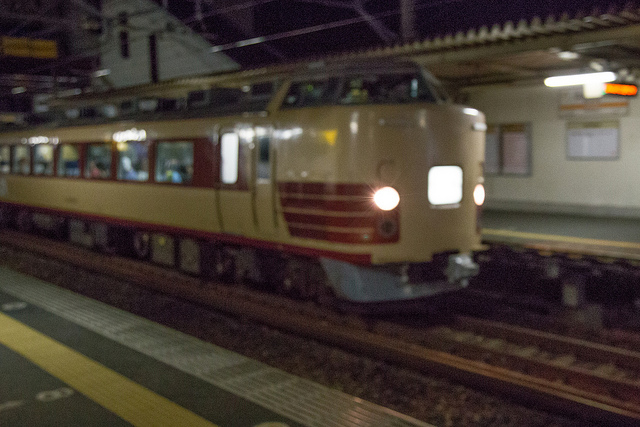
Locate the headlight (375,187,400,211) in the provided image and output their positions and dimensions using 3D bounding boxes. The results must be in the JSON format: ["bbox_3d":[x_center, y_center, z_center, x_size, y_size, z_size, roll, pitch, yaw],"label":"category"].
[{"bbox_3d":[0.921,-0.218,6.686,0.332,0.305,0.174,11,3,-19],"label":"headlight"}]

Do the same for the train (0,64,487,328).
[{"bbox_3d":[-3.895,-0.804,10.145,14.097,4.313,3.658,6,15,21],"label":"train"}]
